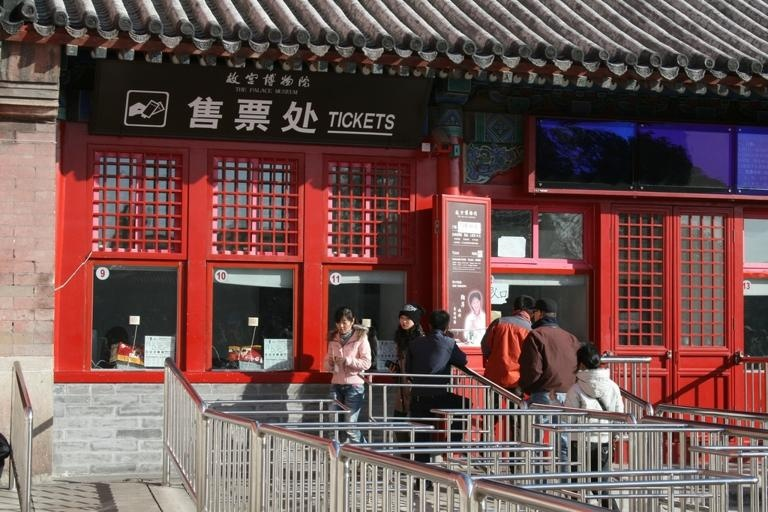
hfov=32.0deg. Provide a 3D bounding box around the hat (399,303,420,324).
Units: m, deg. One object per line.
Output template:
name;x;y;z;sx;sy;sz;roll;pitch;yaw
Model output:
hat;0.347;0.724;16.878;0.256;0.197;0.185;19;-16;-35

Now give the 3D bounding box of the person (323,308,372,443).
person;-0.443;1.485;16.708;0.574;1.660;1.460;1;-5;-1

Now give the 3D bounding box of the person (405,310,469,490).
person;0.640;1.769;16.446;0.743;2.213;0.826;0;-5;3

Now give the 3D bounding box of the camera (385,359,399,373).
camera;0.124;1.402;17.172;0.138;0.138;0.038;26;29;13

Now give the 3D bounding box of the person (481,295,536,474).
person;1.745;1.553;17.017;0.700;2.101;0.769;8;8;36

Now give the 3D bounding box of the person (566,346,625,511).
person;2.388;1.905;15.215;0.666;1.843;1.498;0;-5;9
